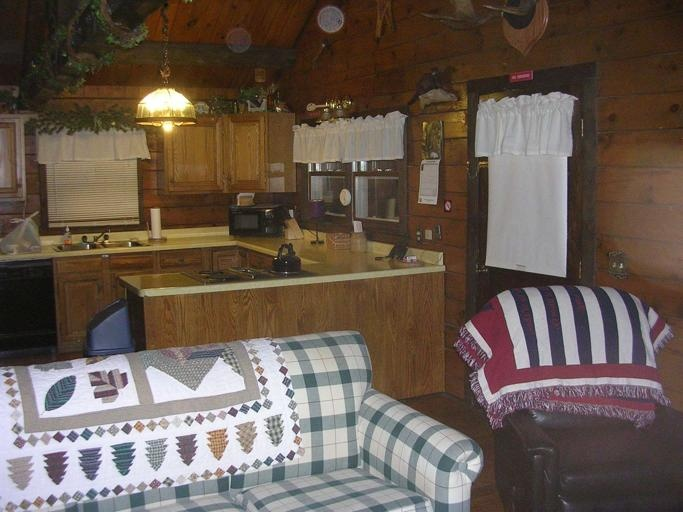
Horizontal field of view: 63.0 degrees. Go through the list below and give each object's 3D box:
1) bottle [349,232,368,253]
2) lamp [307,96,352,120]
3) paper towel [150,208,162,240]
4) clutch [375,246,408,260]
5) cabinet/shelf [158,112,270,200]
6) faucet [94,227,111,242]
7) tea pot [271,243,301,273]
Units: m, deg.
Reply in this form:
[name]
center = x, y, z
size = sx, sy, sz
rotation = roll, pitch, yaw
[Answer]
[bottle]
center = 0.163, -0.118, 5.410
size = 0.170, 0.186, 0.172
rotation = -1, 4, -2
[lamp]
center = -0.116, -1.495, 5.698
size = 0.375, 0.199, 0.301
rotation = 0, 8, 10
[paper towel]
center = -2.141, -0.363, 6.389
size = 0.132, 0.358, 0.103
rotation = 0, 6, 3
[clutch]
center = 0.449, -0.038, 4.829
size = 0.171, 0.107, 0.156
rotation = -5, 9, -24
[cabinet/shelf]
center = -1.462, -1.155, 6.512
size = 1.511, 1.204, 0.830
rotation = -2, 3, -28
[faucet]
center = -2.686, -0.227, 6.264
size = 0.156, 0.154, 0.330
rotation = -2, 7, -18
[tea pot]
center = -0.424, 0.002, 4.339
size = 0.222, 0.237, 0.245
rotation = 5, 6, 33
